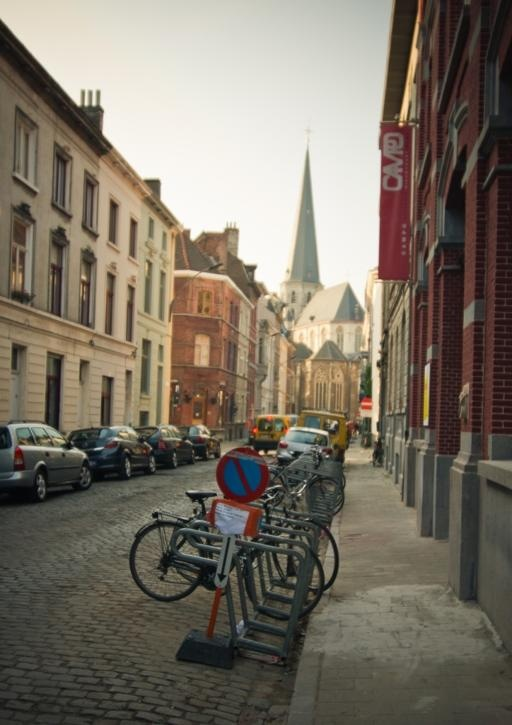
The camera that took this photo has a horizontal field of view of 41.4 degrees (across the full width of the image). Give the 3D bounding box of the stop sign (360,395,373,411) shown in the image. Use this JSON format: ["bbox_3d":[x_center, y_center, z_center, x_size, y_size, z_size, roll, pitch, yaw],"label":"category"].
[{"bbox_3d":[5.868,2.177,35.957,0.517,0.876,0.820,0,0,2],"label":"stop sign"}]

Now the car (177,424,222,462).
[{"bbox_3d":[-2.381,3.383,29.319,0.871,0.936,2.362,-1,0,8],"label":"car"}]

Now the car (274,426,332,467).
[{"bbox_3d":[1.104,1.955,16.708,0.782,0.831,1.523,1,3,8],"label":"car"}]

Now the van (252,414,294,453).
[{"bbox_3d":[0.790,3.666,35.855,1.464,1.692,2.922,0,2,8],"label":"van"}]

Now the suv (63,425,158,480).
[{"bbox_3d":[-3.782,2.407,18.522,0.939,0.934,2.204,-2,-3,14],"label":"suv"}]

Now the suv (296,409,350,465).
[{"bbox_3d":[2.472,2.691,24.518,1.426,1.617,2.554,1,-1,9],"label":"suv"}]
